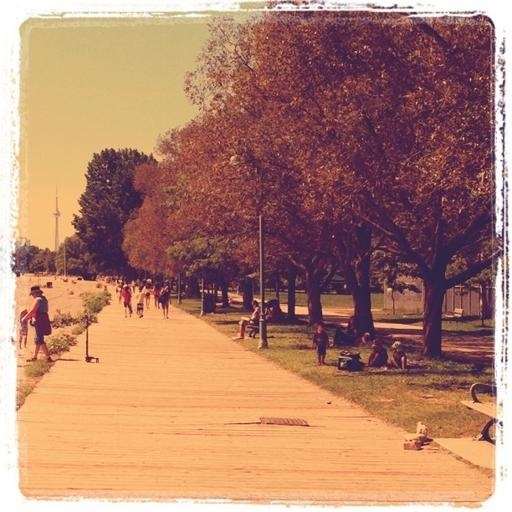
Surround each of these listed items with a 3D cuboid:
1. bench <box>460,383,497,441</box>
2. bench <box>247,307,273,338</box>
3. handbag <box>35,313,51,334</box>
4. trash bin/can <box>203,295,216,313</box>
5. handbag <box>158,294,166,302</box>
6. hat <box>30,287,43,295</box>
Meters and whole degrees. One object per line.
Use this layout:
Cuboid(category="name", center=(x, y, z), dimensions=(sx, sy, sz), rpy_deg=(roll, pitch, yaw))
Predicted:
Cuboid(category="bench", center=(4.339, 2.903, 20.929), dimensions=(0.812, 1.134, 1.472), rpy_deg=(0, 3, 5))
Cuboid(category="bench", center=(0.114, 2.272, 39.132), dimensions=(0.762, 1.301, 0.875), rpy_deg=(-1, -2, 4))
Cuboid(category="handbag", center=(-5.502, 1.767, 28.774), dimensions=(0.460, 0.834, 0.431), rpy_deg=(-1, -5, -12))
Cuboid(category="trash bin/can", center=(-2.366, 2.336, 55.811), dimensions=(0.629, 0.922, 0.708), rpy_deg=(2, 6, 2))
Cuboid(category="handbag", center=(-4.300, 1.835, 50.261), dimensions=(0.237, 0.401, 0.571), rpy_deg=(2, -6, -10))
Cuboid(category="hat", center=(-5.829, 0.885, 29.180), dimensions=(0.219, 0.274, 0.247), rpy_deg=(2, 11, -9))
